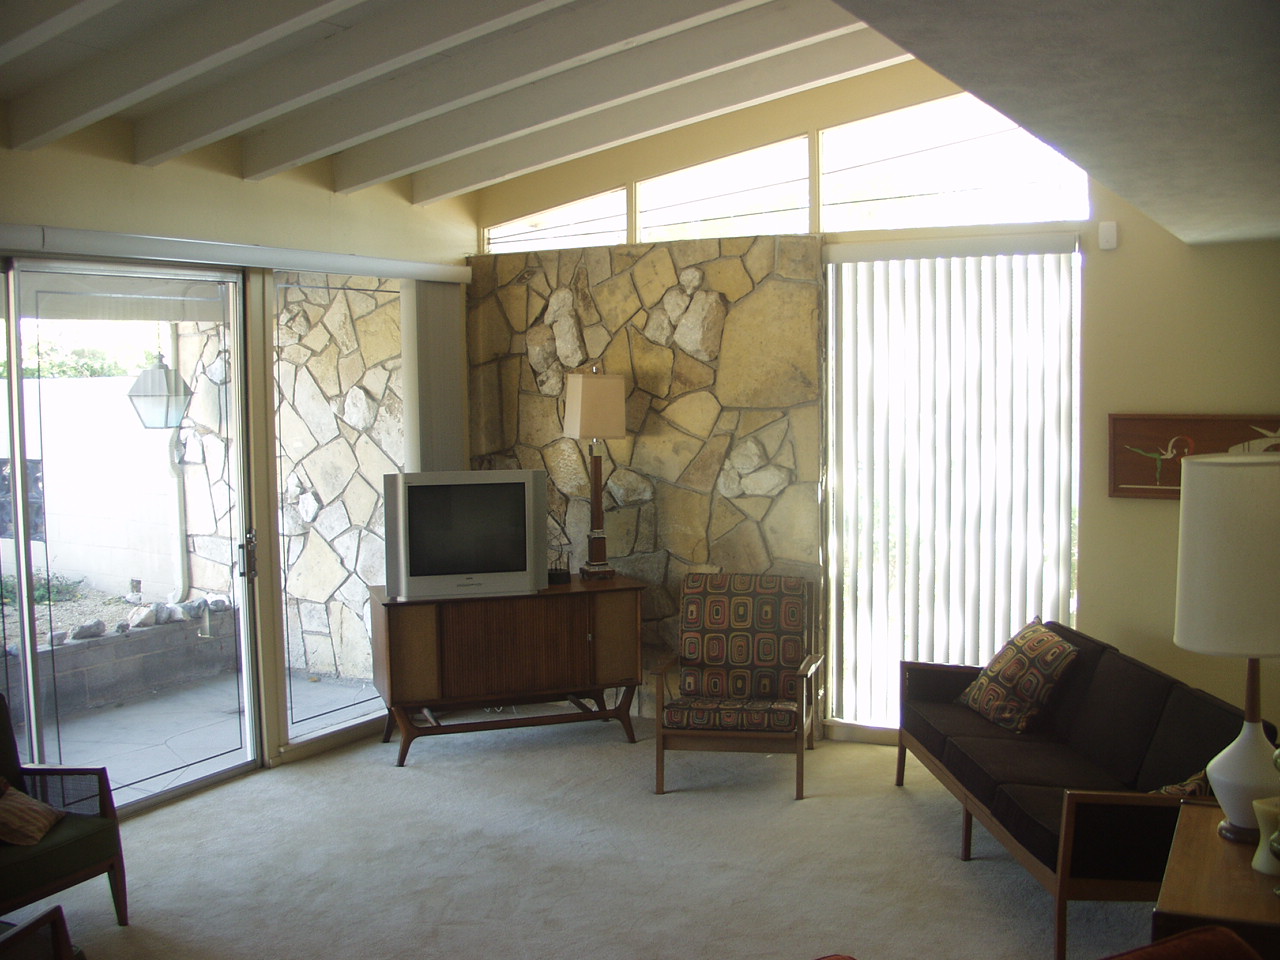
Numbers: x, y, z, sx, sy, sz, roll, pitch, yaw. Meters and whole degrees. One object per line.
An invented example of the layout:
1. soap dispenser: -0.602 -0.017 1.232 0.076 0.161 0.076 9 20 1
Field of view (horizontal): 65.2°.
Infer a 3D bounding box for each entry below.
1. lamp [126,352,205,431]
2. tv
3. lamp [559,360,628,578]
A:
1. lamp: -2.566 -0.488 5.524 0.327 0.597 0.346 -3 4 0
2. tv: -1.079 0.285 6.376 1.224 1.049 0.677 0 4 -7
3. lamp: -0.283 -0.059 6.505 0.387 1.290 0.452 -1 8 0
